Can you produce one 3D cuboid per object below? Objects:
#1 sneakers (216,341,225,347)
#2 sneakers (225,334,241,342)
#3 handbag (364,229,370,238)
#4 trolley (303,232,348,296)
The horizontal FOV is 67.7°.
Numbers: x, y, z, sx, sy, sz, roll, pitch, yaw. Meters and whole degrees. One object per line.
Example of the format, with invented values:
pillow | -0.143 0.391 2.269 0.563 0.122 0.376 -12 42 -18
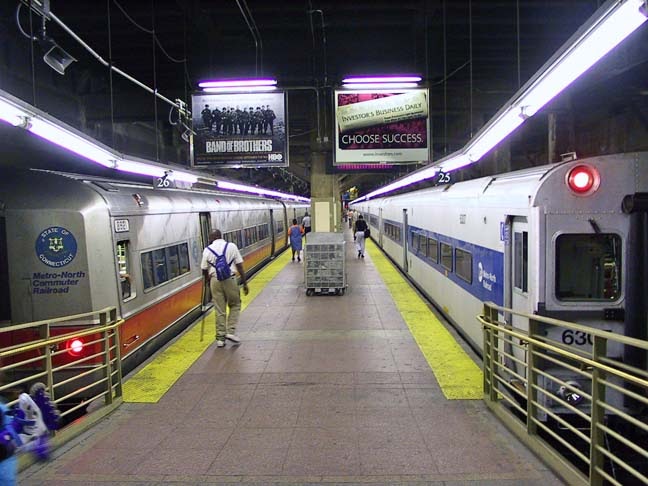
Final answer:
sneakers | -2.024 1.973 9.454 0.072 0.095 0.212 0 1 3
sneakers | -1.807 1.894 9.588 0.131 0.131 0.324 -24 -25 19
handbag | 2.009 -0.444 22.791 0.332 0.285 0.507 -10 34 8
trolley | 0.012 0.573 14.435 1.162 1.795 0.970 1 11 3
